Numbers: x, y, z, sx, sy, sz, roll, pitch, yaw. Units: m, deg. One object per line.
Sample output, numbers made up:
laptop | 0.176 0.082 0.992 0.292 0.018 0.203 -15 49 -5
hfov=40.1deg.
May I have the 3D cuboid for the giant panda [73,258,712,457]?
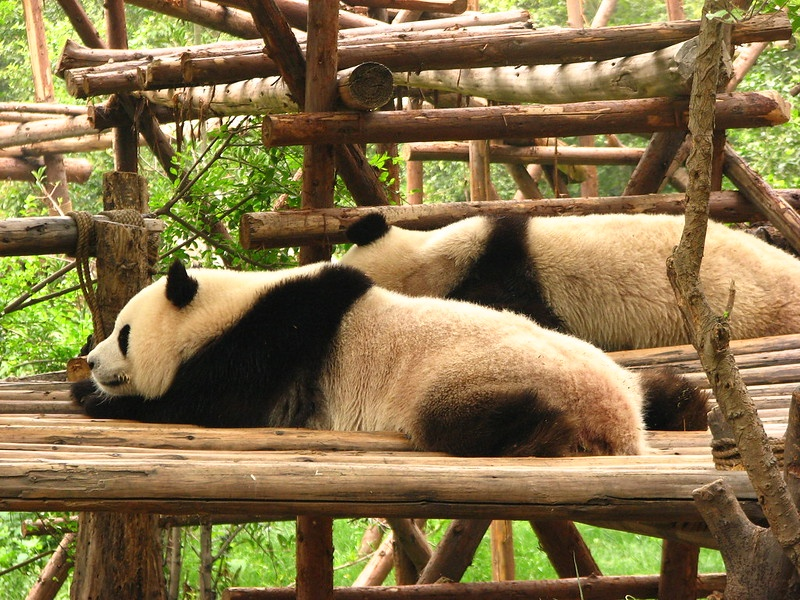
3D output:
giant panda | -0.071 0.336 5.636 2.775 0.723 1.194 3 -9 15
